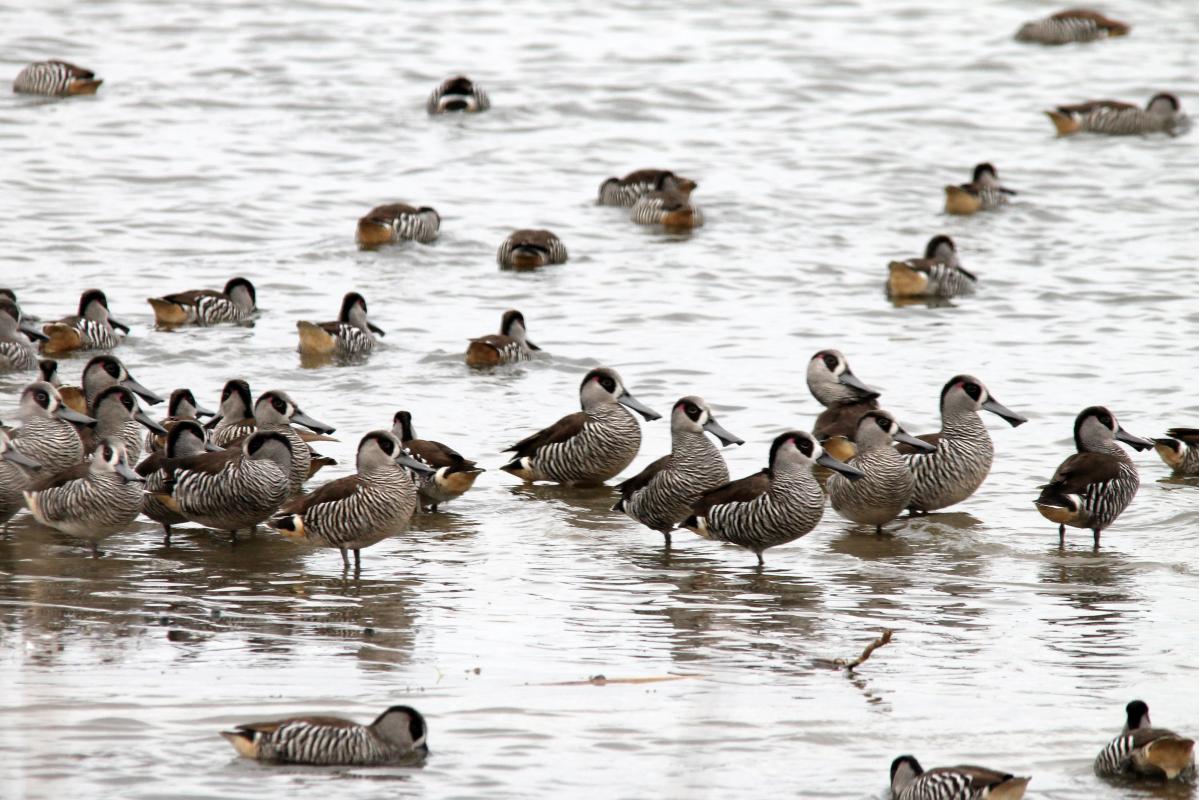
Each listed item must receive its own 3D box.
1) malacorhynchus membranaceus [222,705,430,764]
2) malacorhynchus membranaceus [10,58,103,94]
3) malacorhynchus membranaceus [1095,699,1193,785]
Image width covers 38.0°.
[{"bbox_3d":[-2.398,3.027,15.892,1.919,0.436,0.610,1,0,0],"label":"malacorhynchus membranaceus"},{"bbox_3d":[-12.152,-7.127,38.956,1.860,0.735,0.658,-1,29,-10],"label":"malacorhynchus membranaceus"},{"bbox_3d":[4.966,3.140,15.523,0.692,0.495,0.958,1,-4,-3],"label":"malacorhynchus membranaceus"}]
